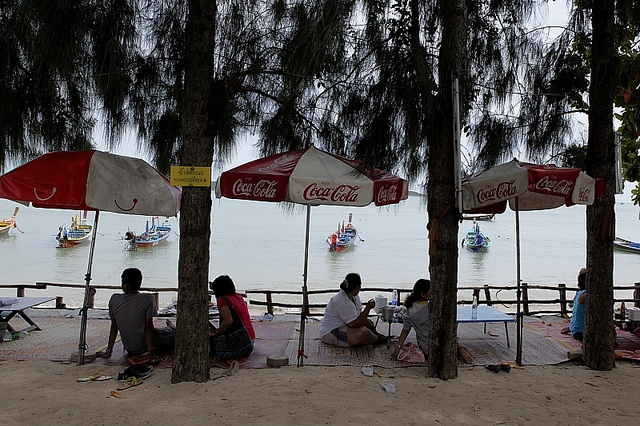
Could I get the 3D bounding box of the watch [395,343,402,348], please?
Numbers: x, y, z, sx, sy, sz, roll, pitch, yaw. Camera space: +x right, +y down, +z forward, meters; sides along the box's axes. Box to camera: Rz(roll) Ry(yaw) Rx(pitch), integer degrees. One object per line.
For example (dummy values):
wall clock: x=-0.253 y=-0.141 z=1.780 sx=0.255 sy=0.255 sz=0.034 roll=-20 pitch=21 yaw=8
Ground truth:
watch: x=1.412 y=2.421 z=12.467 sx=0.062 sy=0.064 sz=0.065 roll=-3 pitch=-13 yaw=33

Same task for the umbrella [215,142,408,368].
umbrella: x=0.195 y=0.477 z=12.571 sx=3.040 sy=4.281 sz=2.431 roll=-3 pitch=-7 yaw=23

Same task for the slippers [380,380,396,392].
slippers: x=1.131 y=2.905 z=11.472 sx=0.273 sy=0.101 sz=0.205 roll=12 pitch=18 yaw=39

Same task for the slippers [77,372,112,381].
slippers: x=-3.789 y=2.803 z=11.630 sx=0.363 sy=0.070 sz=0.196 roll=1 pitch=1 yaw=-10

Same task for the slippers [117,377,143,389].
slippers: x=-3.136 y=2.824 z=11.416 sx=0.415 sy=0.115 sz=0.307 roll=-2 pitch=14 yaw=-10

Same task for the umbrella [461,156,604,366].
umbrella: x=3.561 y=0.653 z=13.518 sx=3.676 sy=4.648 sz=3.917 roll=-1 pitch=-5 yaw=12

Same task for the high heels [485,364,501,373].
high heels: x=3.033 y=2.744 z=12.159 sx=0.163 sy=0.134 sz=0.093 roll=3 pitch=-42 yaw=33

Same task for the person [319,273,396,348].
person: x=0.611 y=1.859 z=13.211 sx=1.216 sy=1.477 sz=1.009 roll=1 pitch=5 yaw=9

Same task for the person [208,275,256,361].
person: x=-1.597 y=1.872 z=12.401 sx=0.734 sy=1.510 sz=0.579 roll=0 pitch=0 yaw=9

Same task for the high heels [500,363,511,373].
high heels: x=3.269 y=2.759 z=12.179 sx=0.106 sy=0.083 sz=0.147 roll=0 pitch=4 yaw=-28

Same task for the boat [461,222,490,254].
boat: x=11.345 y=1.869 z=50.046 sx=1.456 sy=2.301 sz=3.909 roll=-4 pitch=6 yaw=3
